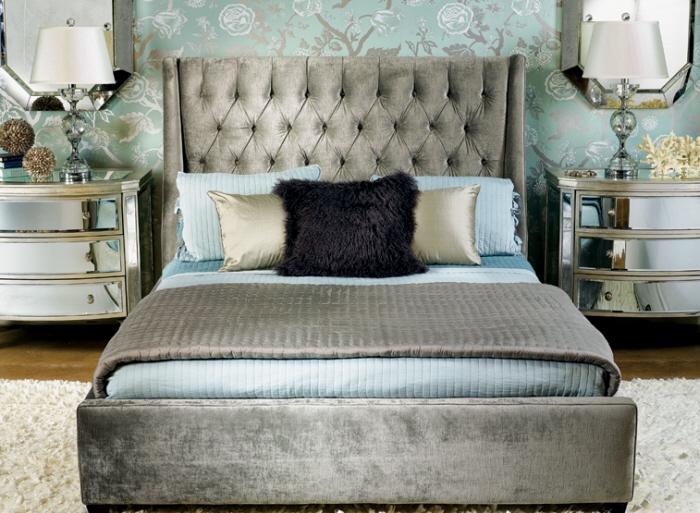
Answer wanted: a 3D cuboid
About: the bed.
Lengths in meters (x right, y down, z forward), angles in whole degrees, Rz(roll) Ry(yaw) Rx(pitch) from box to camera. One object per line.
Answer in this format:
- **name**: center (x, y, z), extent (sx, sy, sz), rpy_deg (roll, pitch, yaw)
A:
- **bed**: center (0.048, -0.133, 3.491), extent (1.871, 1.474, 2.369), rpy_deg (0, 9, 2)
